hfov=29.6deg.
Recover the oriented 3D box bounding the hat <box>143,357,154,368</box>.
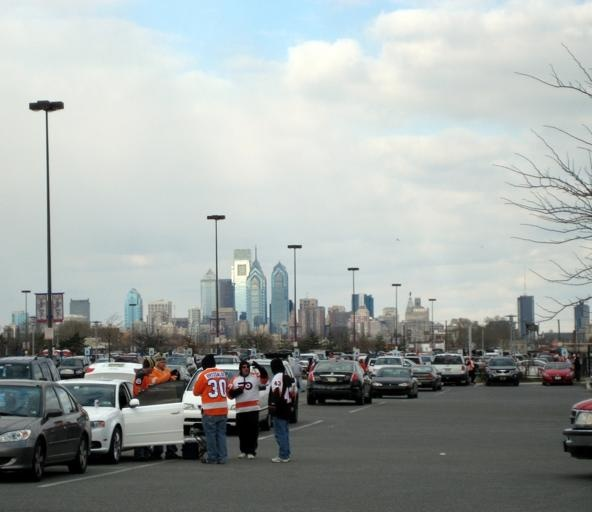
[{"bbox_3d":[-3.304,2.370,25.172,0.163,0.217,0.229,0,-39,-1],"label":"hat"}]

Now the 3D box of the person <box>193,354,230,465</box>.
[{"bbox_3d":[-1.644,2.945,21.898,0.619,2.115,0.946,-1,-6,-6],"label":"person"}]

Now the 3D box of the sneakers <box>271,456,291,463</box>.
[{"bbox_3d":[-0.275,3.854,21.456,0.330,0.163,0.119,6,-2,6],"label":"sneakers"}]

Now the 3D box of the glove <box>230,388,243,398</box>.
[{"bbox_3d":[-1.172,2.694,22.289,0.246,0.224,0.321,-5,-7,27],"label":"glove"}]

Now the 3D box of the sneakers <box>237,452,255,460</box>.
[{"bbox_3d":[-0.979,3.935,22.148,0.133,0.102,0.217,5,-17,-36],"label":"sneakers"}]

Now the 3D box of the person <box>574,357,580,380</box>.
[{"bbox_3d":[16.426,6.493,65.389,0.308,1.394,1.805,-3,-7,13],"label":"person"}]
